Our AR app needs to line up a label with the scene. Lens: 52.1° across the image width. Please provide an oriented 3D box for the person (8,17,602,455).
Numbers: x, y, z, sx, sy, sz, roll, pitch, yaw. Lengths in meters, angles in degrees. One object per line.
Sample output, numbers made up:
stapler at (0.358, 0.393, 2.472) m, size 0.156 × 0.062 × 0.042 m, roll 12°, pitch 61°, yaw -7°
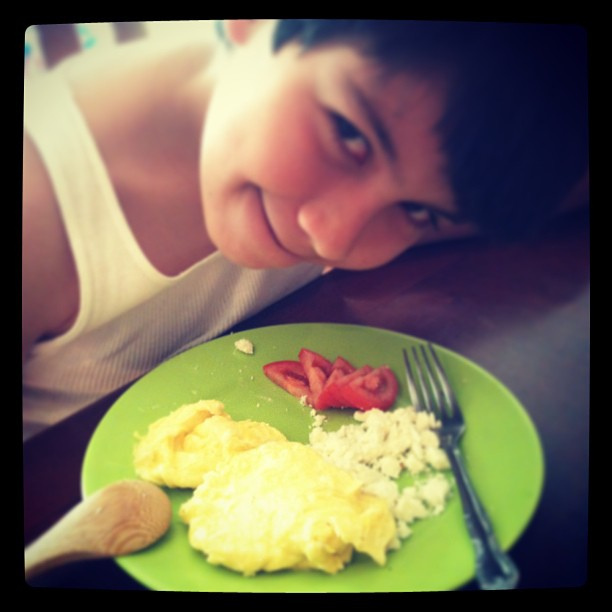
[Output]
person at (-0.041, -0.222, 1.474) m, size 1.265 × 0.821 × 0.484 m, roll -5°, pitch 38°, yaw -13°

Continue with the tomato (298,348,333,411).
tomato at (0.020, 0.146, 1.391) m, size 0.099 × 0.030 × 0.113 m, roll 14°, pitch 48°, yaw -38°

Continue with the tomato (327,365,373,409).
tomato at (0.104, 0.183, 1.377) m, size 0.110 × 0.061 × 0.054 m, roll -17°, pitch 42°, yaw -26°
